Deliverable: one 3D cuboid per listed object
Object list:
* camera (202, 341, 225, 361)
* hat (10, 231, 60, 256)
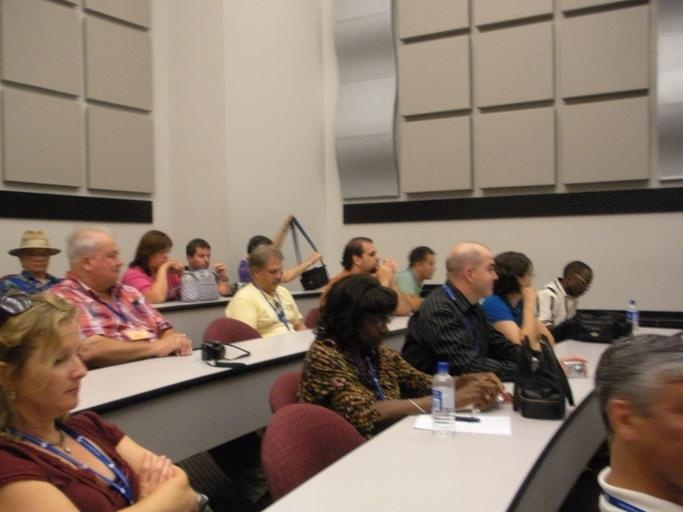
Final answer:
[{"bbox_3d":[-0.677,0.498,2.523,0.107,0.087,0.087,-1,3,2],"label":"camera"},{"bbox_3d":[-2.512,-0.084,3.913,0.304,0.133,0.304,4,-13,-37],"label":"hat"}]
